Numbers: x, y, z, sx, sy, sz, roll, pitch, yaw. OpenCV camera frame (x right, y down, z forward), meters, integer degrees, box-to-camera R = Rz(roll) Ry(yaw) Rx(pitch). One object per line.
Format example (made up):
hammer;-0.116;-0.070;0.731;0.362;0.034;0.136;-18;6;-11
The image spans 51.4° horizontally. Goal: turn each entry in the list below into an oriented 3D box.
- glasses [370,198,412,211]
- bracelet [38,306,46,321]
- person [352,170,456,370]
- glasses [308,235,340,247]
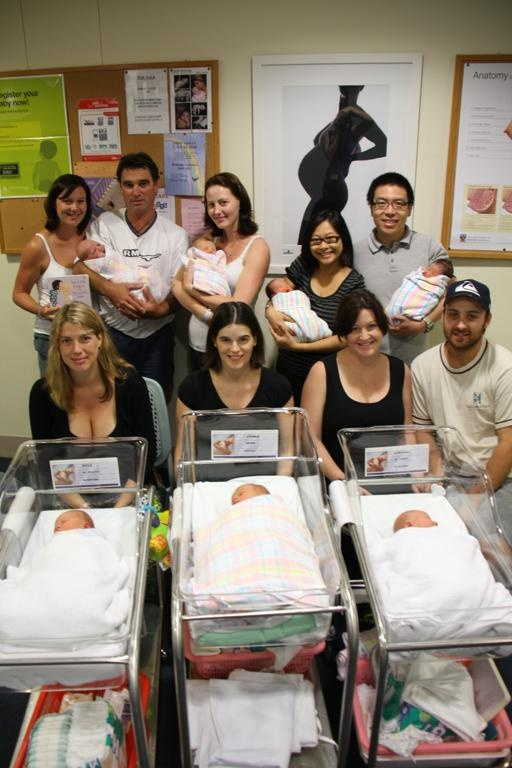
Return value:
glasses;0.633;-0.834;2.462;0.170;0.051;0.090;5;21;11
bracelet;-1.070;-0.361;2.652;0.026;0.067;0.051;2;-28;-37
person;0.676;-0.480;2.613;0.468;0.981;0.426;6;21;28
glasses;0.320;-0.666;2.458;0.132;0.053;0.039;3;20;6
